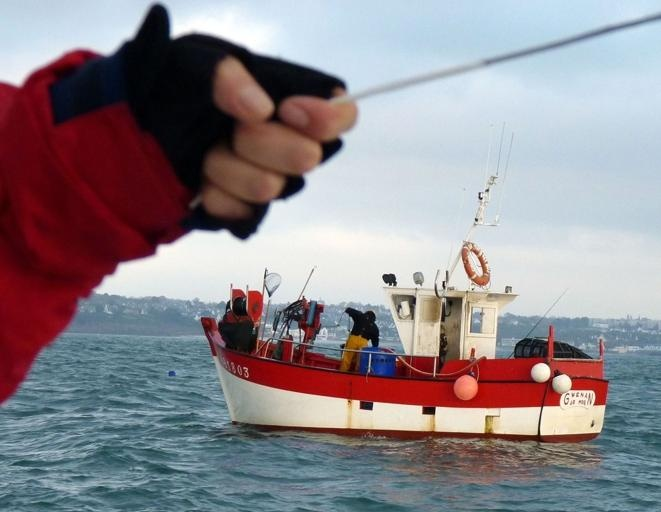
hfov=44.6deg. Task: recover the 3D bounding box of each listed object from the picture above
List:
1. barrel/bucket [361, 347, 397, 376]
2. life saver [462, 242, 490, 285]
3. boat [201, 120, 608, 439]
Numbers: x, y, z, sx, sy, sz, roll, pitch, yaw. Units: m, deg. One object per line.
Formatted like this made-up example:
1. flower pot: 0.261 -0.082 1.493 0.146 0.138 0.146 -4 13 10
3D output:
1. barrel/bucket: 0.915 2.002 15.068 0.565 0.501 0.581 4 -5 0
2. life saver: 2.406 0.127 13.536 0.667 0.698 0.169 19 -27 -39
3. boat: 1.895 2.191 17.896 9.738 6.657 3.959 -1 -5 2
